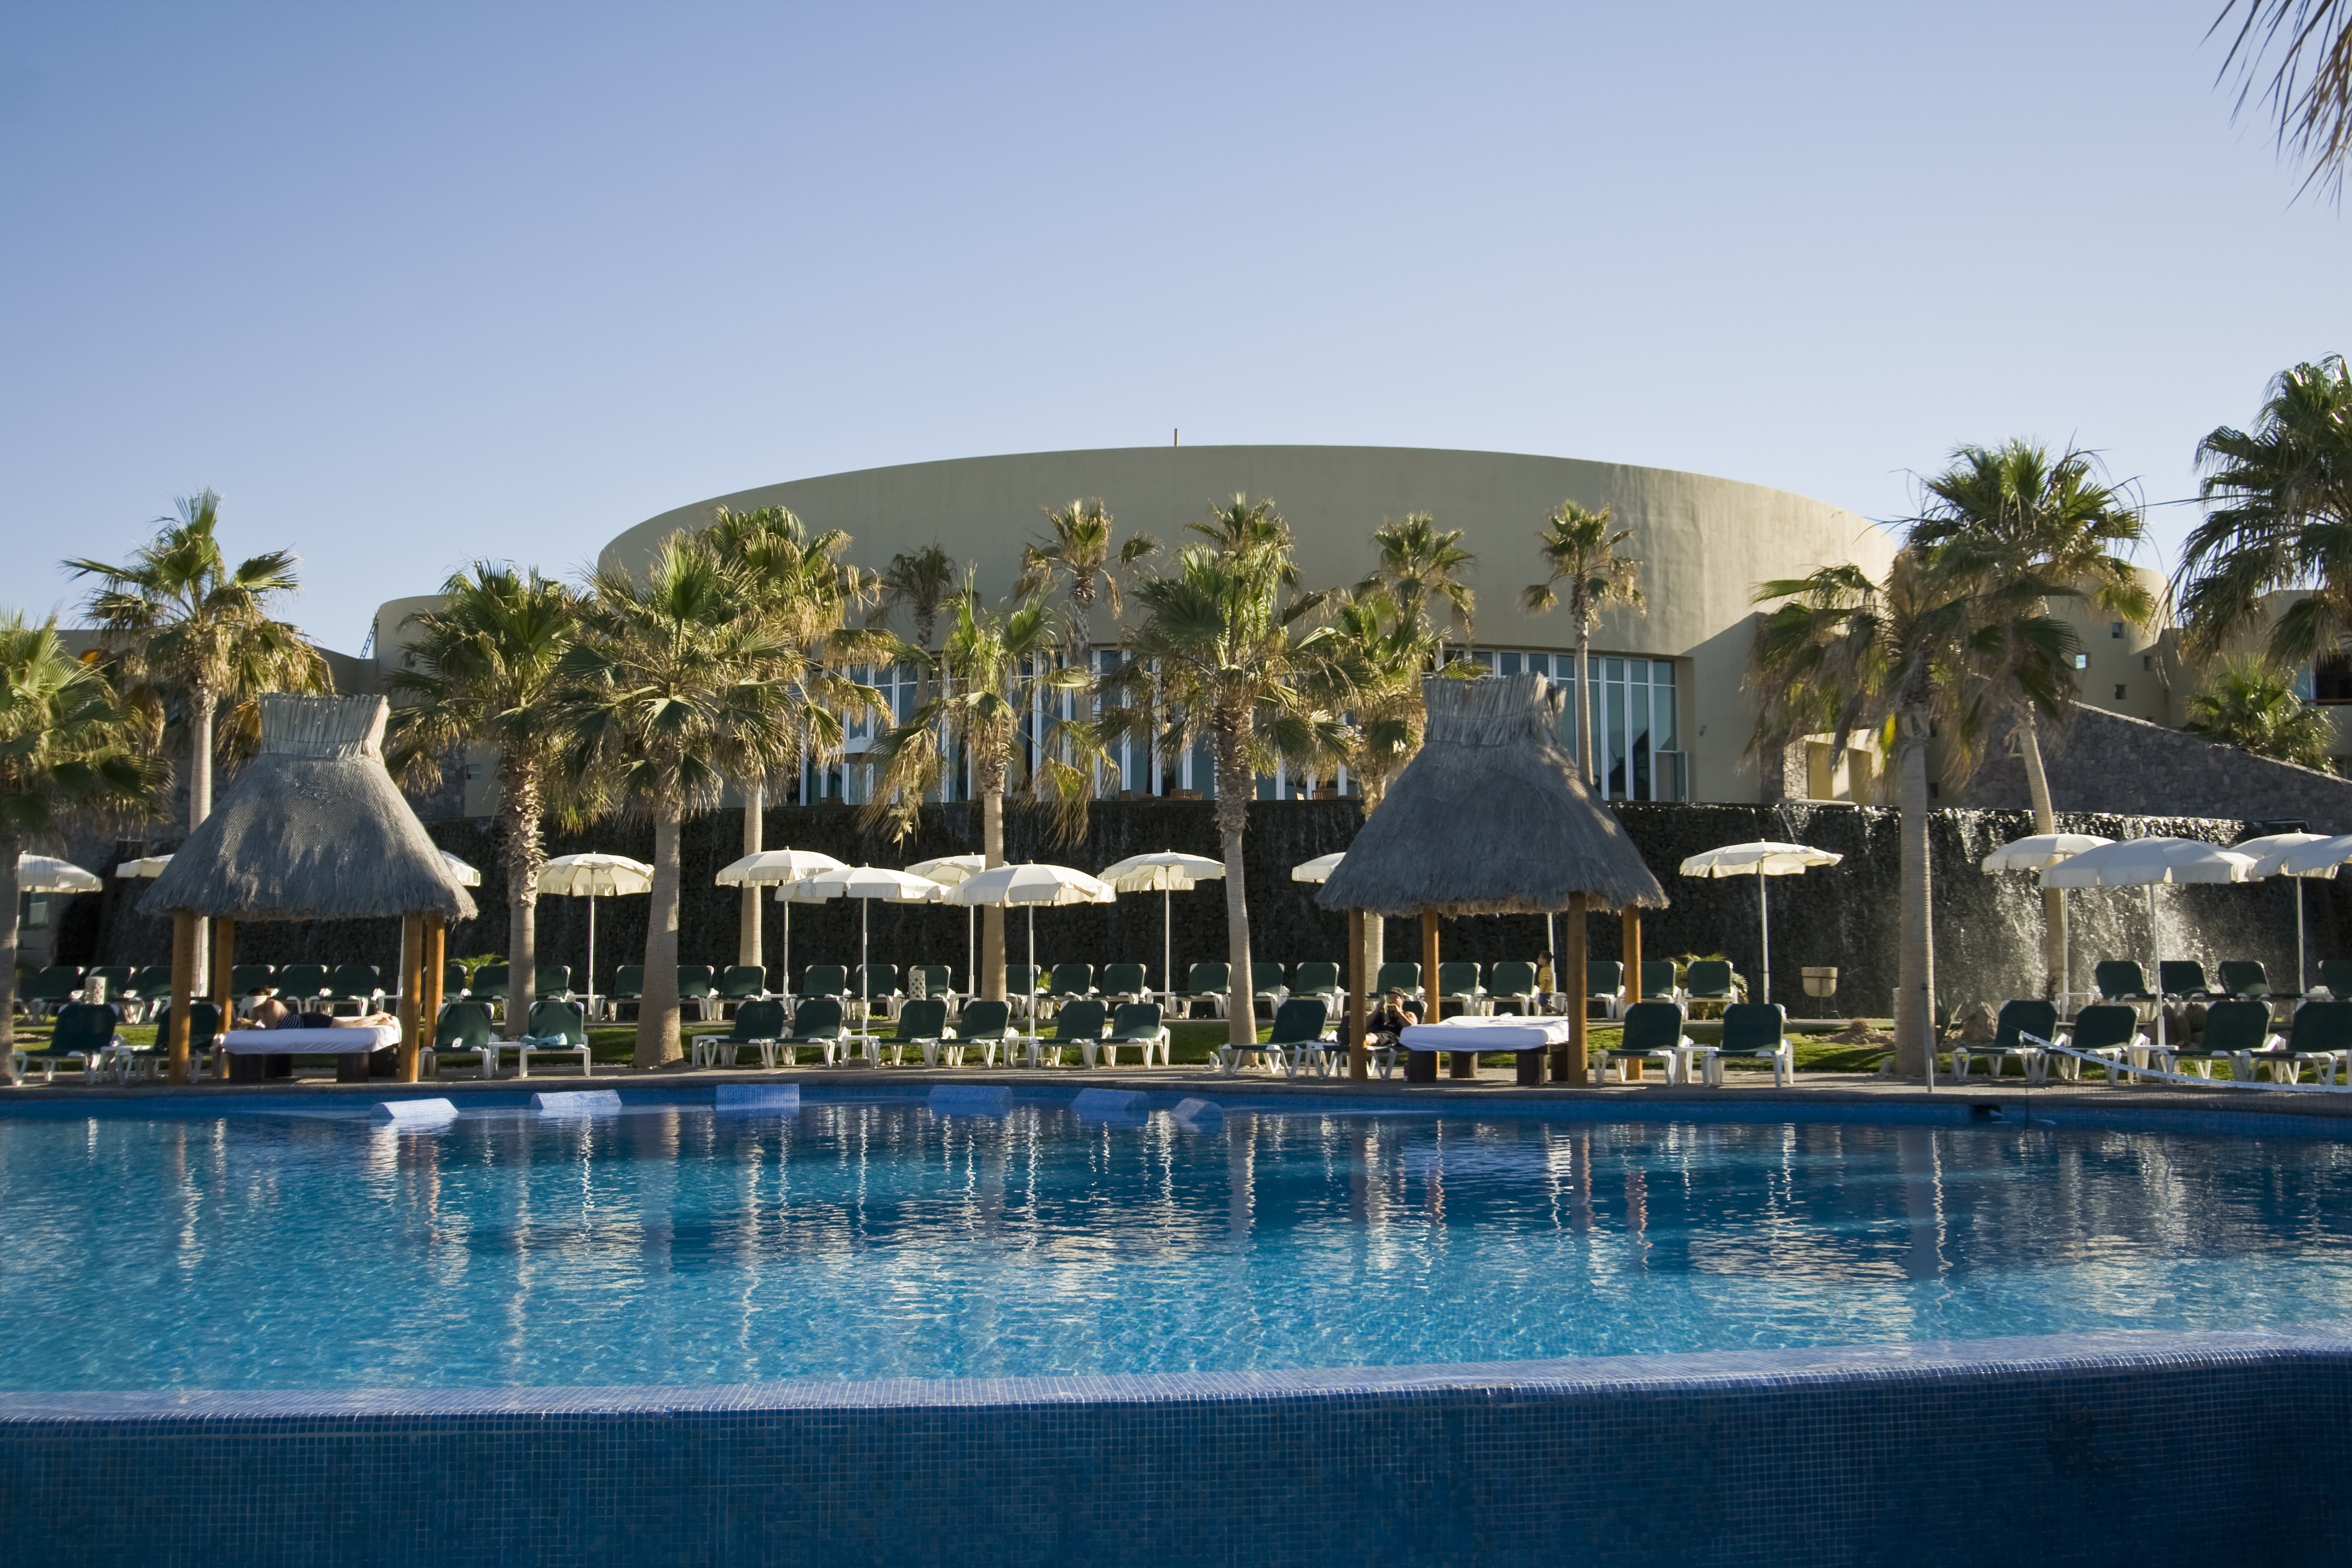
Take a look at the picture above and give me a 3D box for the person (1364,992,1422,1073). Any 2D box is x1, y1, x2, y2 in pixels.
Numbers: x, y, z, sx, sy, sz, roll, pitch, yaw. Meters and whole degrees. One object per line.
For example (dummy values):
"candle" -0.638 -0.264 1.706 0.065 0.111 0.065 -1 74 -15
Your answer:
"person" 2.865 3.205 29.747 0.679 0.938 0.834 0 -12 -2
